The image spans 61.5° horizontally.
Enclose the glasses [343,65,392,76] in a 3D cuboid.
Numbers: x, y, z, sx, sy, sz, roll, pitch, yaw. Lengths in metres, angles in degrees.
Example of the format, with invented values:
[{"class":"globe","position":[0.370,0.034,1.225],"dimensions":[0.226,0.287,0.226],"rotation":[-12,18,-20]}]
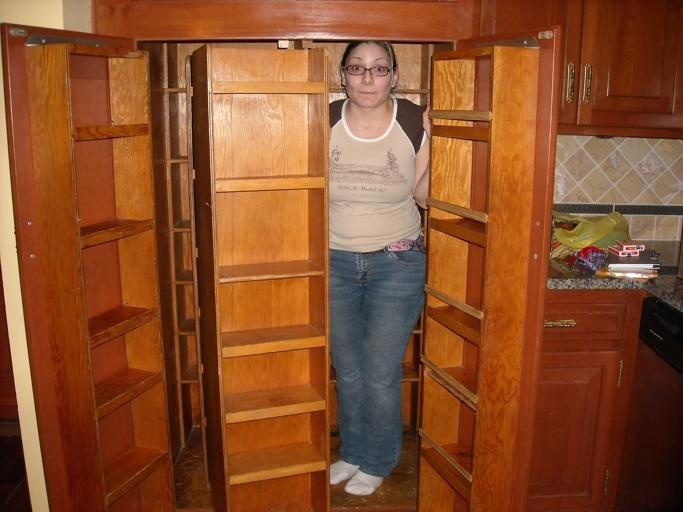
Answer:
[{"class":"glasses","position":[0.102,-0.766,2.376],"dimensions":[0.189,0.052,0.045],"rotation":[2,16,8]}]
